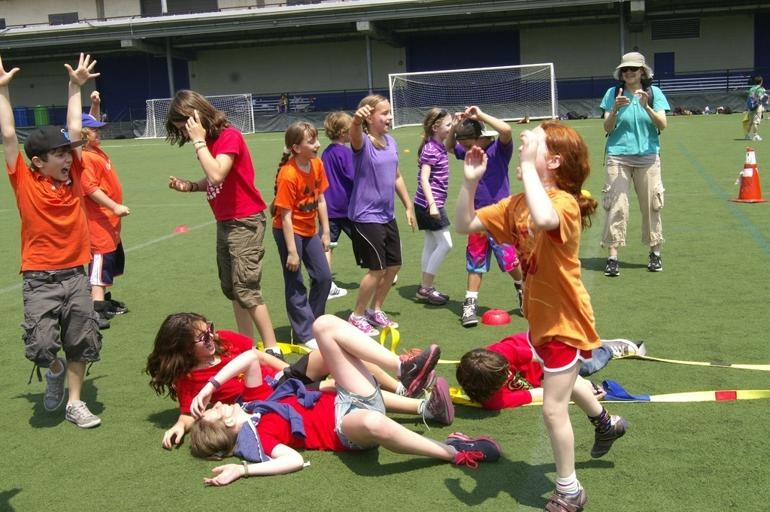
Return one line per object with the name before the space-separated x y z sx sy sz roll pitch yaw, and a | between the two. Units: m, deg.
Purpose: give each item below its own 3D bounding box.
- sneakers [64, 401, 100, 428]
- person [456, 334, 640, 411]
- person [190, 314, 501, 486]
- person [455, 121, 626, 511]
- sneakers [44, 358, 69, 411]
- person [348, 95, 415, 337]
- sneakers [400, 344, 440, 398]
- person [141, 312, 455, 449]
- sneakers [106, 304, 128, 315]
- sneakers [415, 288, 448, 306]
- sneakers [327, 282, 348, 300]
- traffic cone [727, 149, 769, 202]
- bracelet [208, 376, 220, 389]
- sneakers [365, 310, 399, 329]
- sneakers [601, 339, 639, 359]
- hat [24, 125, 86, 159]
sneakers | -2.342 1.239 5.110 0.367 0.147 0.137 5 8 35
person | 1.356 0.844 5.317 1.639 0.422 0.849 -13 2 -29
person | -0.243 1.042 4.803 2.306 0.910 1.543 2 10 -4
person | 0.982 0.343 4.187 0.870 2.358 0.704 10 15 42
sneakers | -2.687 1.016 5.358 0.163 0.453 0.180 -3 -29 -11
person | -0.114 -0.397 6.463 0.623 2.285 0.489 -6 13 -29
sneakers | 0.228 0.800 4.499 0.262 0.419 0.181 1 11 5
person | -0.823 0.867 4.884 1.909 0.702 1.063 -4 21 -3
sneakers | -2.944 0.598 7.318 0.246 0.102 0.079 -1 7 -5
sneakers | 0.508 0.437 7.302 0.383 0.172 0.148 8 14 23
sneakers | -0.608 0.404 7.728 0.302 0.179 0.116 -5 15 -19
traffic cone | 6.144 -1.349 11.046 0.537 0.865 0.927 6 12 28
bracelet | -1.232 0.924 4.767 0.086 0.055 0.080 42 -5 -21
sneakers | -0.059 0.648 6.687 0.391 0.151 0.137 7 2 0
sneakers | 1.953 0.796 5.658 0.425 0.137 0.160 -1 11 -2
hat | -2.575 -0.882 5.088 0.405 0.186 0.240 -21 13 -9
